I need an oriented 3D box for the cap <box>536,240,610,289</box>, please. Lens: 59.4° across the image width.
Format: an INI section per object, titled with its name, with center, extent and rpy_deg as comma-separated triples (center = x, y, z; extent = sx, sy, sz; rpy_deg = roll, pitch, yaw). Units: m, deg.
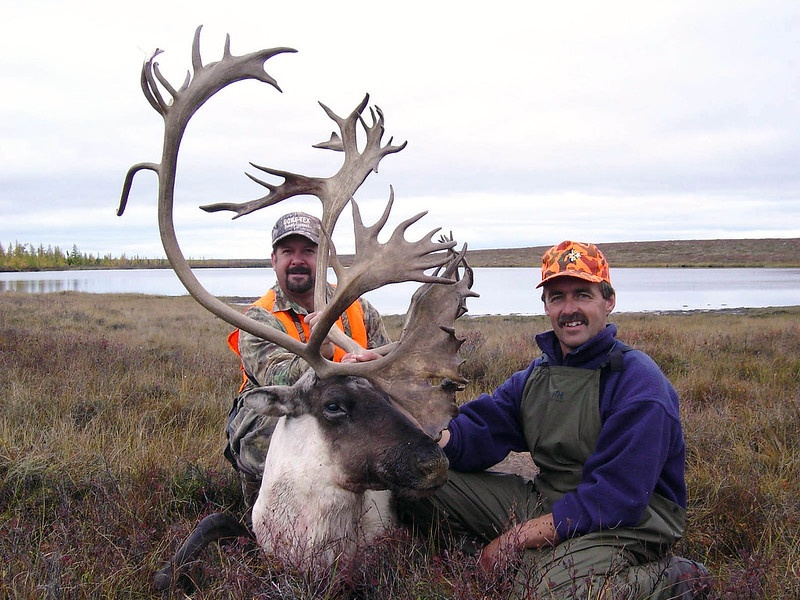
[cap]
center = 1.663, -0.337, 6.674
extent = 0.635, 0.498, 0.904
rpy_deg = -5, -4, 21
